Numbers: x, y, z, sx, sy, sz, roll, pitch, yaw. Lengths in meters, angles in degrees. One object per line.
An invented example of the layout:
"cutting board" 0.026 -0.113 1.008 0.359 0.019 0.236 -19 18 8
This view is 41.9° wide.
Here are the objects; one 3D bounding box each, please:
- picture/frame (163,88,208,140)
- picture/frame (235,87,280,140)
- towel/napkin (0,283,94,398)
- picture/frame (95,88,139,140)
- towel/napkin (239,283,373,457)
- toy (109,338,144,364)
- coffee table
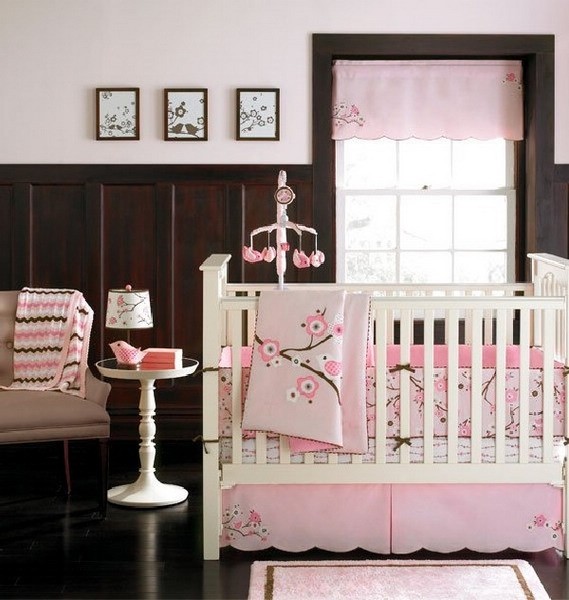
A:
"picture/frame" -0.513 -0.963 3.860 0.237 0.301 0.018 0 -10 -5
"picture/frame" -0.141 -0.974 3.843 0.227 0.294 0.020 0 4 -3
"towel/napkin" -1.004 0.177 3.188 0.320 0.471 0.117 1 -13 9
"picture/frame" -0.868 -0.978 3.861 0.228 0.306 0.017 0 5 3
"towel/napkin" 0.074 0.215 2.525 0.423 0.558 0.138 2 -2 4
"toy" -0.673 0.221 3.157 0.122 0.097 0.031 36 -1 2
"coffee table" -0.545 0.560 3.245 0.482 0.666 0.531 0 -2 7
